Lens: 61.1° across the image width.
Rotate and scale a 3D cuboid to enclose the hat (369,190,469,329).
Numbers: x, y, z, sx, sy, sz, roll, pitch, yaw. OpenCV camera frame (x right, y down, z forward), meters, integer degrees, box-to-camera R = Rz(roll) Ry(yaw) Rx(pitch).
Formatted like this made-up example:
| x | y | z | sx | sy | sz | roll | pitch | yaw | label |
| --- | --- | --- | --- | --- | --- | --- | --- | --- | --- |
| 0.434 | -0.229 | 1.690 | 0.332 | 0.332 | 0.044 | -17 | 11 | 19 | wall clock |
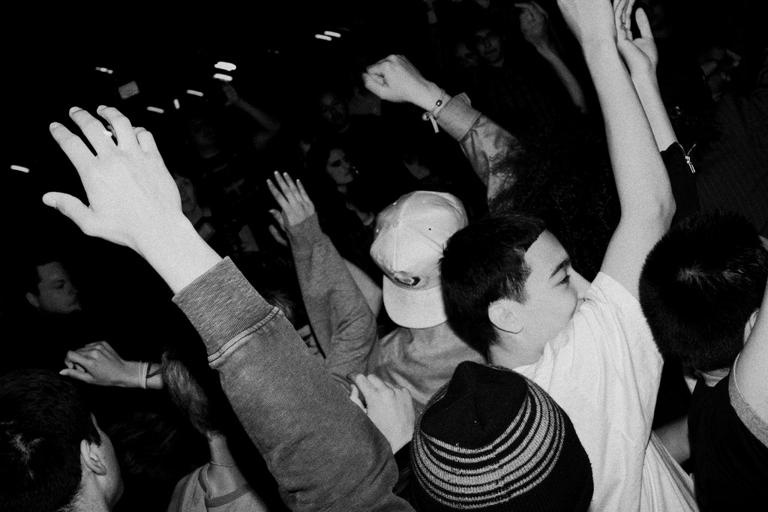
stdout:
| x | y | z | sx | sy | sz | roll | pitch | yaw | label |
| --- | --- | --- | --- | --- | --- | --- | --- | --- | --- |
| 0.203 | 0.021 | 3.434 | 0.473 | 0.751 | 0.291 | -13 | -16 | 36 | hat |
